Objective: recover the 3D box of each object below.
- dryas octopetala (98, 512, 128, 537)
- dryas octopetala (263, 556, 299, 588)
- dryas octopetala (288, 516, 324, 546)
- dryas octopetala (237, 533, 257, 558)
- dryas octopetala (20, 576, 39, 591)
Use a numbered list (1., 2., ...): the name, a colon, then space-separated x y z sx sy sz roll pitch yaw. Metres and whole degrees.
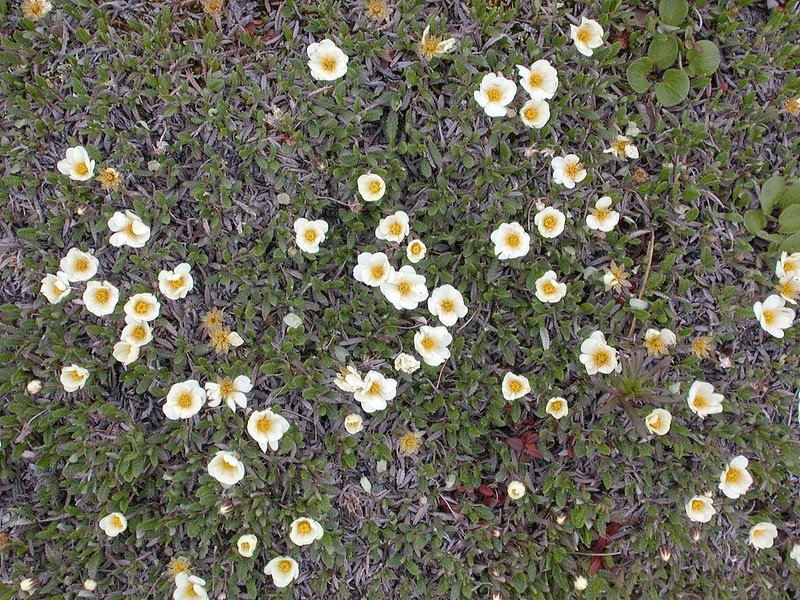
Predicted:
1. dryas octopetala: -1.777 1.399 3.939 0.157 0.072 0.152 -19 81 5
2. dryas octopetala: -0.711 1.648 3.795 0.189 0.098 0.190 -31 94 -14
3. dryas octopetala: -0.565 1.405 3.869 0.175 0.088 0.188 13 92 0
4. dryas octopetala: -0.924 1.487 3.831 0.108 0.080 0.153 0 95 16
5. dryas octopetala: -2.302 1.776 3.938 0.090 0.034 0.084 -44 115 -22
